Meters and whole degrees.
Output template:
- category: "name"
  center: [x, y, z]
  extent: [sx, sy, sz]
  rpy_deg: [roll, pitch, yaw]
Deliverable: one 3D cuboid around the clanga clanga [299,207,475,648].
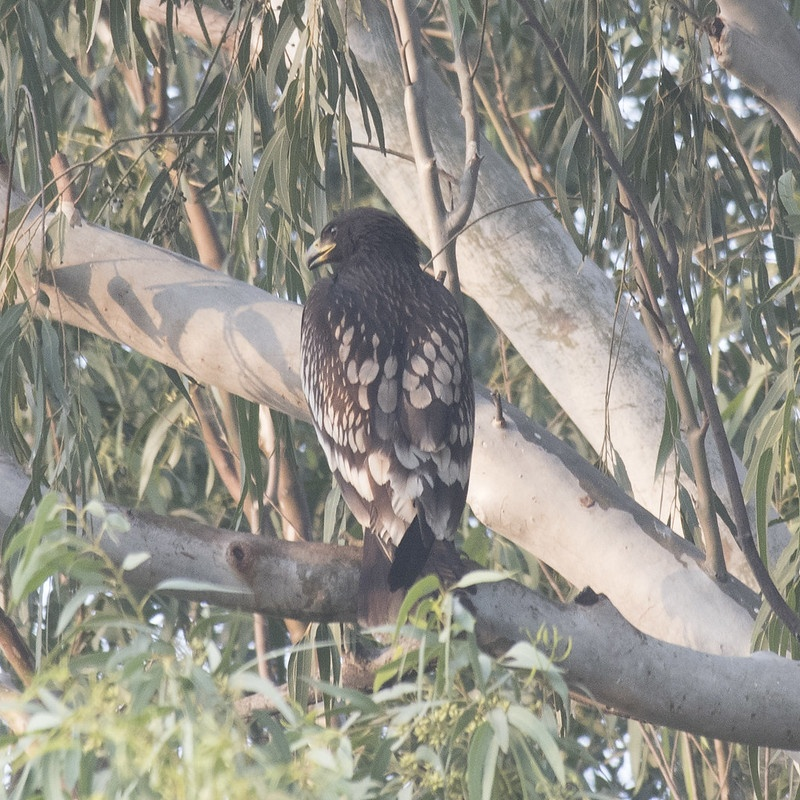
- category: "clanga clanga"
  center: [-0.021, 0.014, 7.554]
  extent: [0.345, 0.948, 1.298]
  rpy_deg: [-5, 47, 3]
